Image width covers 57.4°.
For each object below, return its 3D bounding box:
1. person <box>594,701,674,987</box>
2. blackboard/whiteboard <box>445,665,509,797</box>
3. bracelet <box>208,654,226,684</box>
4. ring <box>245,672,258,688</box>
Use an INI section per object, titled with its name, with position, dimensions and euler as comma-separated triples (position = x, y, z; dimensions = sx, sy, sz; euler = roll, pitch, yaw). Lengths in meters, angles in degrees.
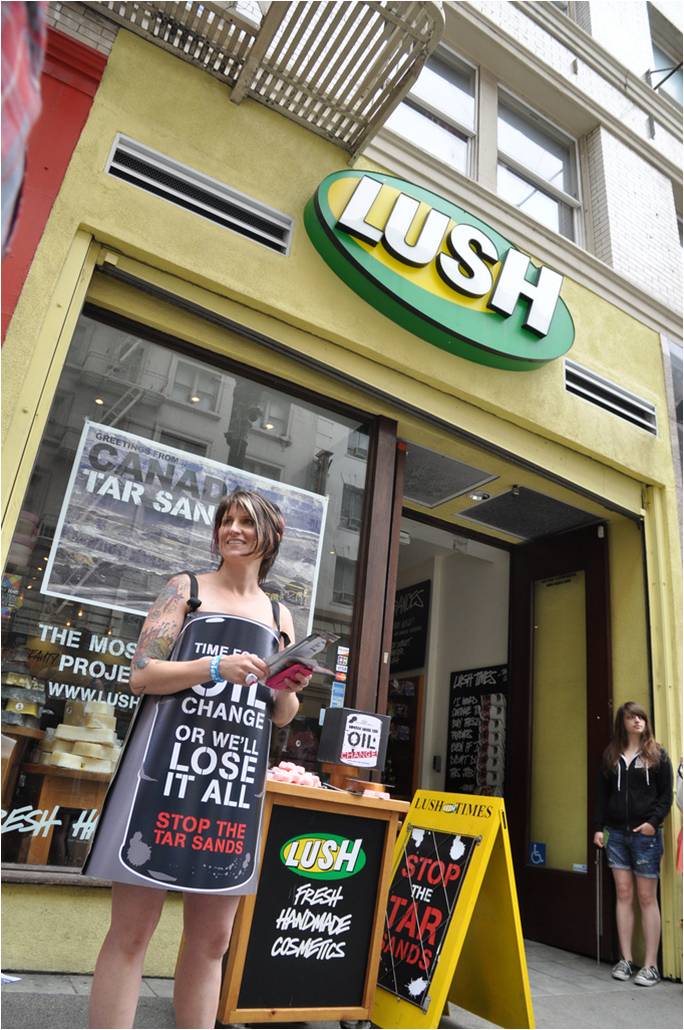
[person]
position = 1.895, 2.065, 4.082
dimensions = 0.499, 1.805, 0.518
euler = 2, -7, 21
[blackboard/whiteboard]
position = 1.279, 2.052, 5.931
dimensions = 0.214, 1.278, 1.075
euler = 11, -12, -9
[bracelet]
position = -0.250, 0.309, 1.251
dimensions = 0.032, 0.046, 0.029
euler = 12, -13, -10
[ring]
position = -0.182, 0.335, 1.268
dimensions = 0.024, 0.025, 0.039
euler = 8, -12, 5
